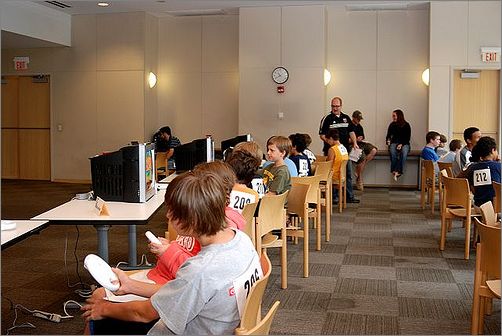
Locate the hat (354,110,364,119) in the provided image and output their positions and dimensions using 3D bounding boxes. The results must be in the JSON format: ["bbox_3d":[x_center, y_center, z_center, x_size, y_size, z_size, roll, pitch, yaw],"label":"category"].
[{"bbox_3d":[2.717,-1.336,9.269,0.242,0.164,0.184,12,13,35],"label":"hat"}]

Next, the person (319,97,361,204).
[{"bbox_3d":[1.959,-0.398,7.912,0.669,2.138,0.632,-3,4,17],"label":"person"}]

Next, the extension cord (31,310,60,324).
[{"bbox_3d":[-1.855,1.327,3.303,0.372,0.059,0.099,3,9,21],"label":"extension cord"}]

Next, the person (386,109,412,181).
[{"bbox_3d":[3.673,-0.552,9.092,0.524,1.733,0.316,3,8,22],"label":"person"}]

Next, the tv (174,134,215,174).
[{"bbox_3d":[-0.899,-0.268,5.955,0.587,0.526,0.627,-3,6,3],"label":"tv"}]

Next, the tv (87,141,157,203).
[{"bbox_3d":[-1.309,0.000,3.746,0.561,0.610,0.595,1,4,3],"label":"tv"}]

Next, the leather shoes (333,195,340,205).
[{"bbox_3d":[1.829,0.700,7.871,0.188,0.116,0.184,-1,-1,11],"label":"leather shoes"}]
